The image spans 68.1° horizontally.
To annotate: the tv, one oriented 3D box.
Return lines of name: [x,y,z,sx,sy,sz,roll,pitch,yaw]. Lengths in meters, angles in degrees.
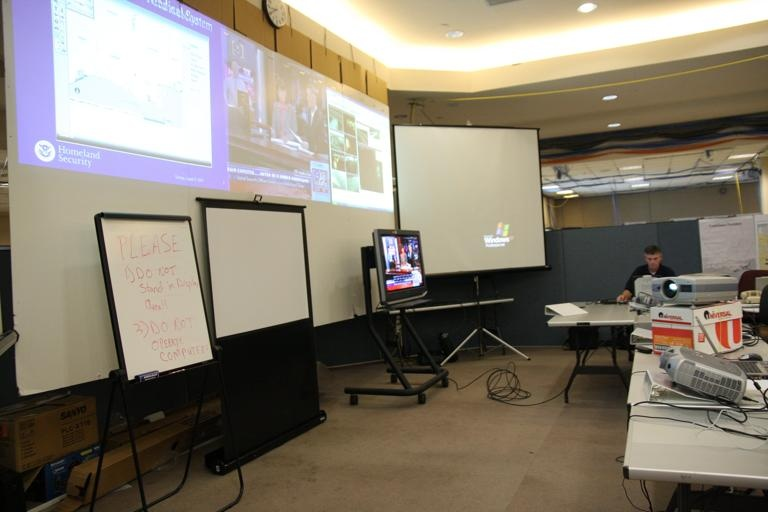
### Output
tv: [0.143,0.114,5.826,0.082,0.708,0.818,-11,-7,31]

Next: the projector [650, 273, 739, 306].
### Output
projector: [2.156,0.232,3.939,0.367,0.178,0.271,0,0,9]

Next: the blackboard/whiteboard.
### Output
blackboard/whiteboard: [-1.600,0.240,4.000,0.633,1.113,0.416,-9,12,-32]

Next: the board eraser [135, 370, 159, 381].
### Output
board eraser: [-1.617,0.819,3.880,0.165,0.068,0.053,-11,14,-38]

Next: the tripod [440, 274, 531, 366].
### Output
tripod: [1.345,0.754,7.230,0.687,1.040,0.952,-4,11,-12]

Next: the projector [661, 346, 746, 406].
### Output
projector: [1.836,0.683,3.286,0.372,0.180,0.288,13,5,19]
